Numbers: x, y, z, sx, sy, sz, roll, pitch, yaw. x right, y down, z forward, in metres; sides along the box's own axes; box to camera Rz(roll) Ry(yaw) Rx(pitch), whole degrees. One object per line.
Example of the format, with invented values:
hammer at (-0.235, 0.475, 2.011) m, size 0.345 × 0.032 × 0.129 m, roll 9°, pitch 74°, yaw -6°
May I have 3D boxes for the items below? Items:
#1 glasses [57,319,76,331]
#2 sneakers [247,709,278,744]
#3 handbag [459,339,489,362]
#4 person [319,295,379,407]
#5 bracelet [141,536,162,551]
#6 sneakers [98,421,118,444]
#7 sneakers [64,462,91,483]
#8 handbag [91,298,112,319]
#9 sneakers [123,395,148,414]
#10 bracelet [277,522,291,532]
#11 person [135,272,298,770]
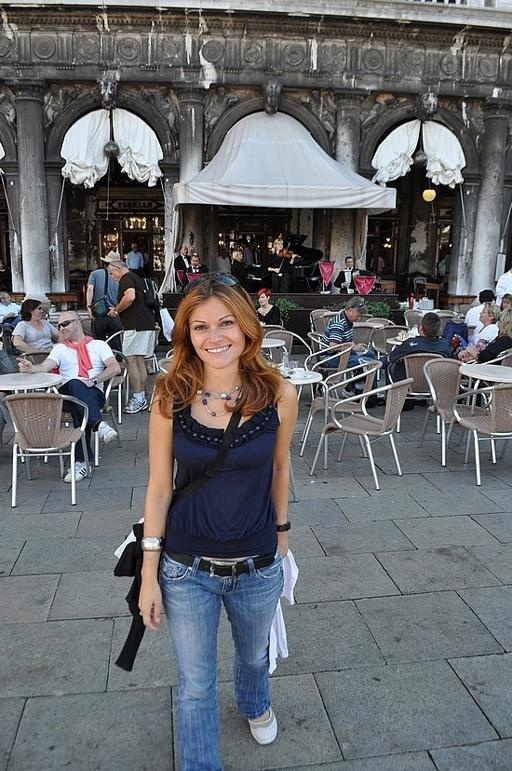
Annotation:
glasses at (-1.786, -0.552, 5.086) m, size 0.192 × 0.086 × 0.113 m, roll 5°, pitch 9°, yaw 31°
sneakers at (0.025, 1.116, 1.783) m, size 0.066 × 0.059 × 0.145 m, roll -5°, pitch 15°, yaw -3°
handbag at (2.718, -0.411, 6.930) m, size 0.381 × 0.155 × 0.285 m, roll -40°, pitch 26°, yaw -13°
person at (1.194, -0.451, 6.989) m, size 0.694 × 1.230 × 0.527 m, roll -2°, pitch 15°, yaw 13°
bracelet at (-0.255, 0.393, 1.356) m, size 0.047 × 0.035 × 0.028 m, roll -2°, pitch 8°, yaw -15°
sneakers at (-1.447, 0.451, 5.313) m, size 0.142 × 0.164 × 0.354 m, roll -37°, pitch 4°, yaw -14°
sneakers at (-1.568, 0.751, 4.770) m, size 0.126 × 0.166 × 0.394 m, roll 2°, pitch -4°, yaw 0°
handbag at (-2.187, -1.065, 7.754) m, size 0.157 × 0.312 × 0.317 m, roll 8°, pitch 15°, yaw 30°
sneakers at (-1.541, 0.246, 7.053) m, size 0.130 × 0.192 × 0.403 m, roll 1°, pitch 5°, yaw 9°
bracelet at (0.083, 0.433, 1.665) m, size 0.043 × 0.027 × 0.060 m, roll -1°, pitch -2°, yaw -7°
person at (-0.074, 0.471, 1.474) m, size 0.277 × 1.483 × 0.503 m, roll 6°, pitch 10°, yaw 38°
